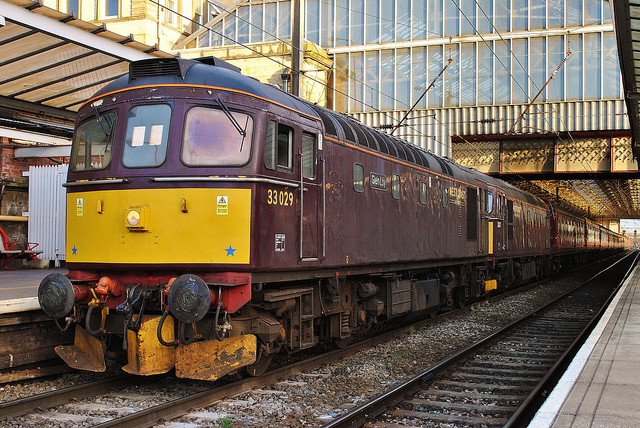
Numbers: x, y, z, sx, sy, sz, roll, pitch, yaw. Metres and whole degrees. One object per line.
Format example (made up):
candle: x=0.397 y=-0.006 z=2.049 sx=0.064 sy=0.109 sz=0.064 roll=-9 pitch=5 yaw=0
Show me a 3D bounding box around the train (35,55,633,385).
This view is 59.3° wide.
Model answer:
train: x=3.510 y=0.388 z=21.545 sx=5.128 sy=6.630 sz=27.563 roll=-1 pitch=-2 yaw=31
